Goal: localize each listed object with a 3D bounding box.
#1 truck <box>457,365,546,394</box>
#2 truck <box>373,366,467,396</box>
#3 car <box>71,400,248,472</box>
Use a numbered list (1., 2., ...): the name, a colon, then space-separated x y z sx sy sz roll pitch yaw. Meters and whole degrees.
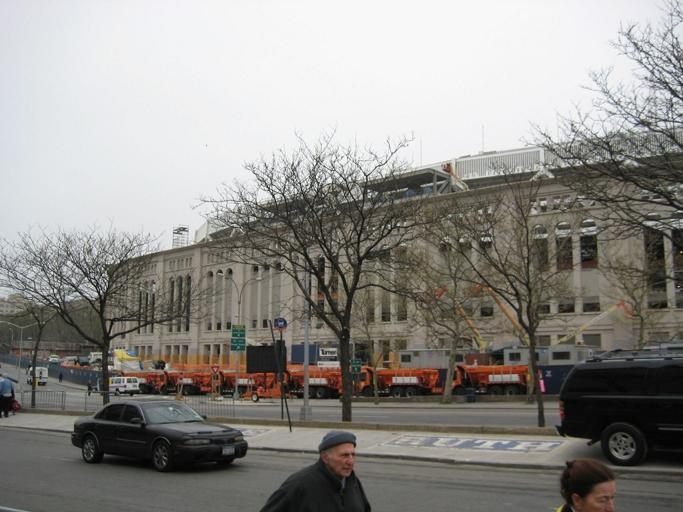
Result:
1. truck: 9.091 7.469 47.923 4.399 1.986 0.779 -9 -12 27
2. truck: 4.924 8.246 50.502 6.231 2.024 2.265 -3 -5 21
3. car: -5.595 5.316 23.842 5.807 1.976 2.596 -6 -10 34
